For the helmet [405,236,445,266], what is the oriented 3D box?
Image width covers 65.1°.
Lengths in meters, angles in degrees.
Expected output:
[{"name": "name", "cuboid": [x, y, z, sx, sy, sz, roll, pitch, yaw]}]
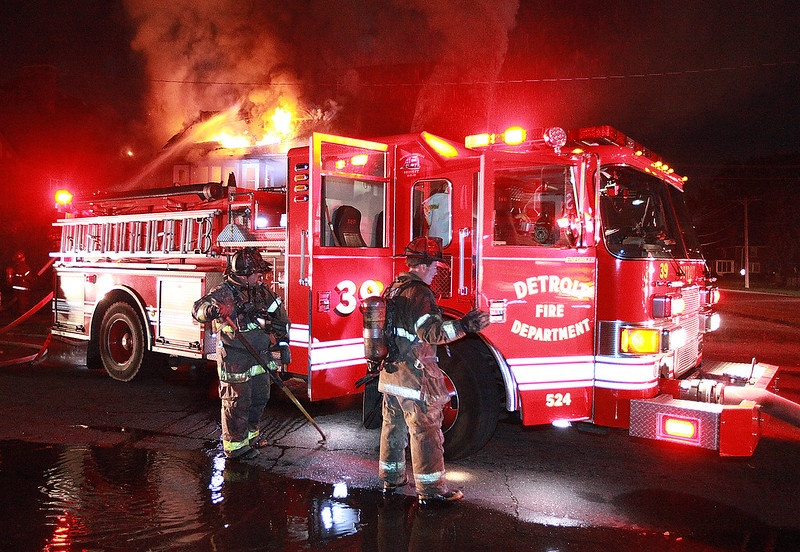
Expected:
[{"name": "helmet", "cuboid": [0.202, -0.241, 6.029, 0.336, 0.219, 0.239, 10, 9, 39]}]

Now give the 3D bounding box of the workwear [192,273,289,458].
[{"name": "workwear", "cuboid": [-1.712, 0.980, 6.829, 0.975, 1.864, 0.521, -3, 9, -20]}]

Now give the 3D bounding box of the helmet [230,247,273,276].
[{"name": "helmet", "cuboid": [-1.643, -0.154, 6.877, 0.396, 0.274, 0.259, -3, 8, -20]}]

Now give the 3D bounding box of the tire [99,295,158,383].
[{"name": "tire", "cuboid": [-3.999, 0.953, 9.291, 1.076, 1.242, 0.381, 11, 12, 42]}]

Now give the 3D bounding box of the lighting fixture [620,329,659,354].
[{"name": "lighting fixture", "cuboid": [2.417, 0.659, 6.294, 0.382, 0.266, 0.098, 0, 8, -2]}]
